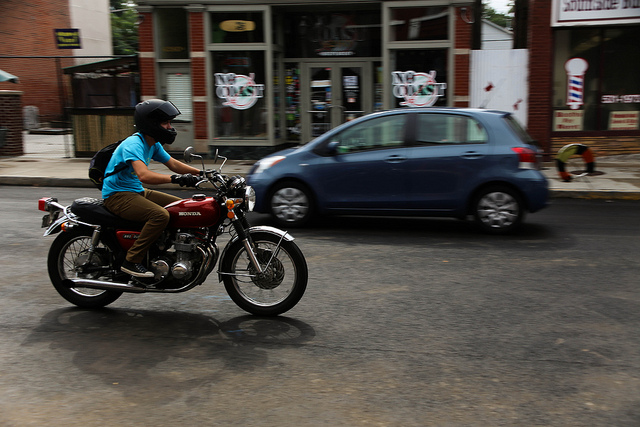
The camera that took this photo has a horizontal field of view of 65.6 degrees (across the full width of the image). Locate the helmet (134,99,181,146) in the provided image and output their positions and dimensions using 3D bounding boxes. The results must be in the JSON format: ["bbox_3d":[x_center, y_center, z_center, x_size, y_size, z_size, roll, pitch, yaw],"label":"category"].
[{"bbox_3d":[-1.735,-0.992,5.346,0.453,0.466,0.220,-3,15,-11],"label":"helmet"}]

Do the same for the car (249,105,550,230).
[{"bbox_3d":[1.993,-0.773,9.772,5.984,1.487,2.722,2,5,35],"label":"car"}]

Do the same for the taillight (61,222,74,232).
[{"bbox_3d":[-2.684,0.140,5.341,0.134,0.092,0.043,-2,15,-7],"label":"taillight"}]

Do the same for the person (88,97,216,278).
[{"bbox_3d":[-1.811,-0.285,5.322,1.130,1.875,1.039,-5,15,-18],"label":"person"}]

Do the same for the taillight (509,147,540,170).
[{"bbox_3d":[3.443,-0.934,8.399,0.478,0.373,0.172,-4,15,-16],"label":"taillight"}]
